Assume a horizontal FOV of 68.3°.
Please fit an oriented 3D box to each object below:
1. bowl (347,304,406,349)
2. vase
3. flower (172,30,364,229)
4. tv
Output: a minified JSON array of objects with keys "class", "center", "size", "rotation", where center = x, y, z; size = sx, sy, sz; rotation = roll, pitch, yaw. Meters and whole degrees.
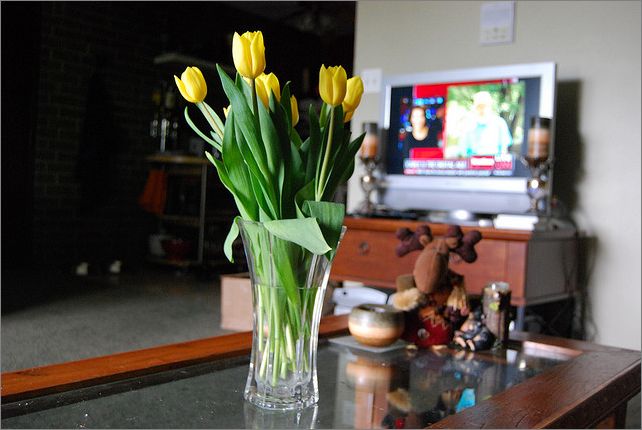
[{"class":"bowl","center":[0.138,0.287,1.248],"size":[0.106,0.072,0.111],"rotation":[2,-6,0]},{"class":"vase","center":[-0.074,0.200,0.981],"size":[0.186,0.382,0.126],"rotation":[-1,8,-12]},{"class":"flower","center":[-0.062,-0.143,1.106],"size":[0.365,0.421,0.382],"rotation":[-10,6,39]},{"class":"tv","center":[0.751,-0.364,2.354],"size":[0.785,0.709,0.118],"rotation":[1,-1,33]}]
